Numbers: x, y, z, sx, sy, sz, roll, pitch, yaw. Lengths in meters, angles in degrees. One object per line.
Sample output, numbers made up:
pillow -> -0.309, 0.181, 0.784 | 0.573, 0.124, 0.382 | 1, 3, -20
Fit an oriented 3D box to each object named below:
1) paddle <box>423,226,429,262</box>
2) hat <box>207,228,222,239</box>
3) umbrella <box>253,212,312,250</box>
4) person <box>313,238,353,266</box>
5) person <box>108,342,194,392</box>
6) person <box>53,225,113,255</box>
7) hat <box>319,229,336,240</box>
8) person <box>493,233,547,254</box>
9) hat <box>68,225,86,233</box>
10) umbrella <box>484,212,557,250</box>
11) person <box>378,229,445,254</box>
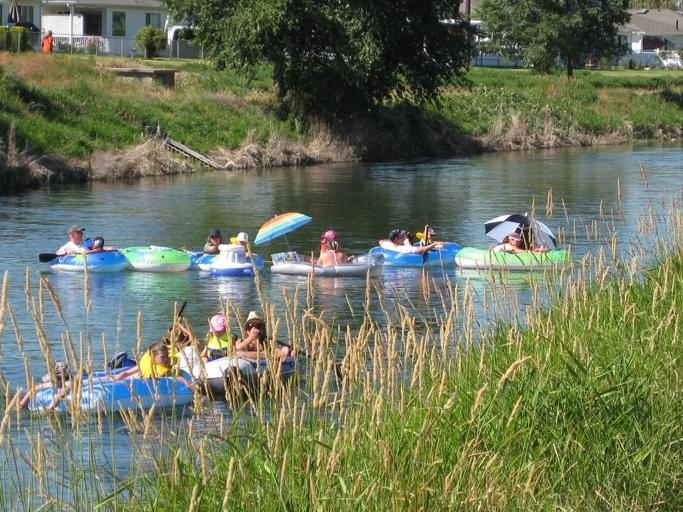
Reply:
paddle -> 1.840, -0.227, 34.379 | 0.194, 0.828, 0.681 | -2, -3, 0
hat -> -2.824, -0.488, 34.355 | 0.240, 0.218, 0.439 | 2, -1, -1
umbrella -> -1.301, -0.658, 34.153 | 0.870, 0.441, 0.883 | -35, -6, 25
person -> -0.251, -0.008, 33.742 | 0.610, 0.641, 1.023 | 5, -5, -7
person -> -2.999, 1.777, 25.402 | 0.769, 0.580, 1.248 | -7, 6, -31
person -> -5.651, -0.247, 33.724 | 1.001, 0.732, 1.621 | -4, -5, 0
hat -> -0.309, -0.442, 33.848 | 0.280, 0.341, 0.240 | 9, 2, 17
person -> 3.717, -0.213, 33.300 | 0.624, 0.408, 0.689 | 6, 8, -5
hat -> -6.004, -0.599, 35.085 | 0.230, 0.143, 0.173 | -22, 1, 25
umbrella -> 3.692, -0.618, 33.456 | 0.959, 0.516, 1.086 | 12, -32, 30
person -> 1.424, -0.236, 34.619 | 0.872, 0.443, 0.718 | 5, -4, 9
